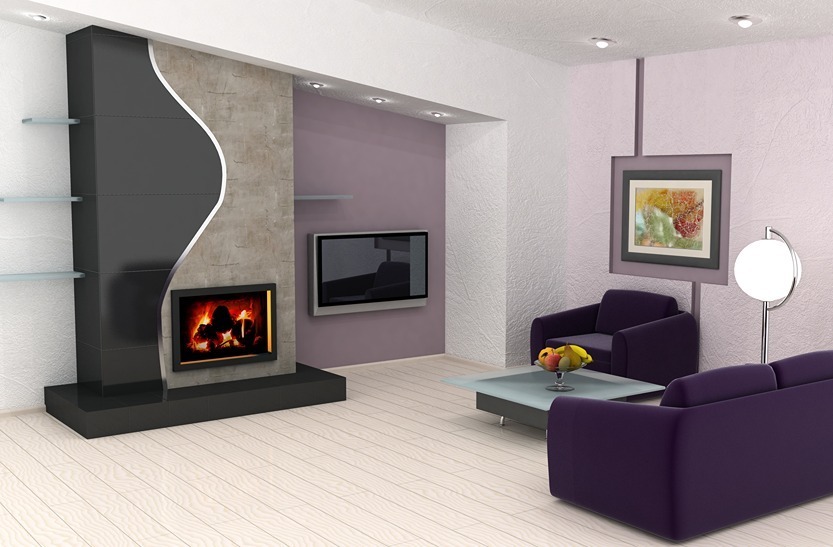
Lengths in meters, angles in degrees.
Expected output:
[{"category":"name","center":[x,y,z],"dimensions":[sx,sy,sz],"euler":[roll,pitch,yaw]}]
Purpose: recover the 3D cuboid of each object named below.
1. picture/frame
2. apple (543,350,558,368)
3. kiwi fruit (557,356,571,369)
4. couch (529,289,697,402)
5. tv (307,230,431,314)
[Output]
[{"category":"picture/frame","center":[2.956,-0.654,6.760],"dimensions":[1.550,1.136,0.080],"euler":[0,3,-23]},{"category":"apple","center":[1.162,0.746,4.943],"dimensions":[0.148,0.131,0.128],"euler":[7,2,-16]},{"category":"kiwi fruit","center":[1.260,0.773,4.966],"dimensions":[0.112,0.089,0.088],"euler":[-48,16,-14]},{"category":"couch","center":[2.227,0.692,6.459],"dimensions":[1.374,0.853,1.452],"euler":[0,0,-41]},{"category":"tv","center":[-0.457,-0.017,7.067],"dimensions":[1.892,0.944,0.195],"euler":[-4,-6,36]}]
